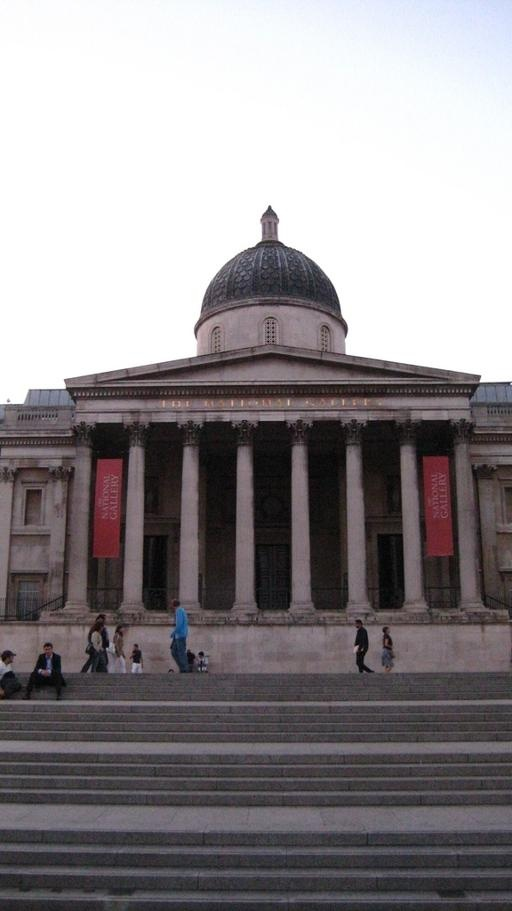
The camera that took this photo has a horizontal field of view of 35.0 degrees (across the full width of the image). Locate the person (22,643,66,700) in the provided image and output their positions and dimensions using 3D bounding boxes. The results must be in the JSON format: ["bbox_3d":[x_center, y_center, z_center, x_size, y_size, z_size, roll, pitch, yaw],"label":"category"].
[{"bbox_3d":[-4.941,5.077,19.226,0.749,1.369,1.269,1,-13,-8],"label":"person"}]
